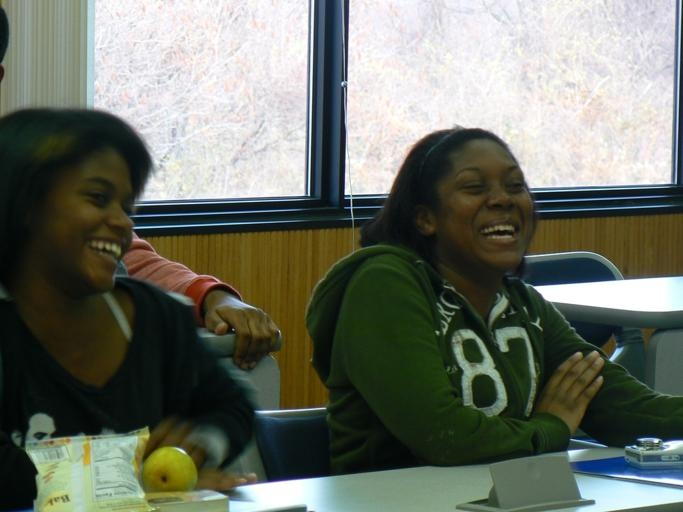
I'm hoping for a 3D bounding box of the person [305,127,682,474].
[{"bbox_3d":[0.376,0.101,2.083,0.899,1.041,0.668,-12,-10,36],"label":"person"}]
